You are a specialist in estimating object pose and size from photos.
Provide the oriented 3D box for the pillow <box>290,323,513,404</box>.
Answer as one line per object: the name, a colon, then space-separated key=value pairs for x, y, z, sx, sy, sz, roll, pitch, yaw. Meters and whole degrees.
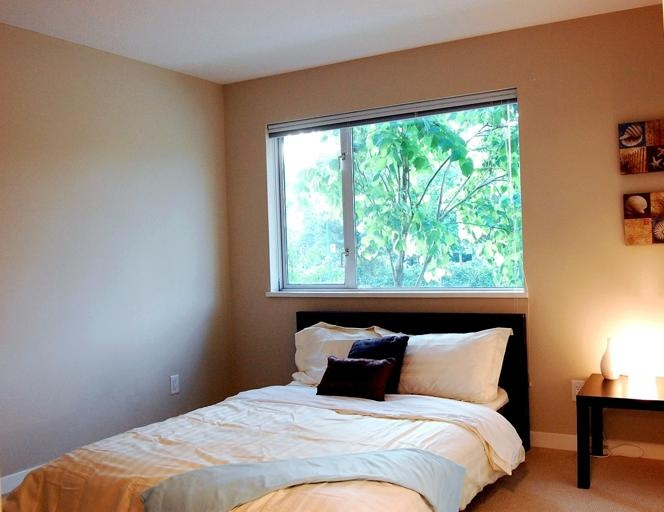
pillow: x=0.482 y=0.694 z=3.773 sx=1.449 sy=0.459 sz=0.395 roll=1 pitch=1 yaw=23
